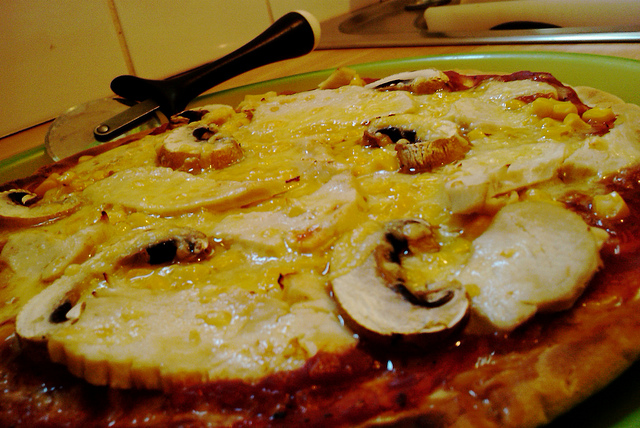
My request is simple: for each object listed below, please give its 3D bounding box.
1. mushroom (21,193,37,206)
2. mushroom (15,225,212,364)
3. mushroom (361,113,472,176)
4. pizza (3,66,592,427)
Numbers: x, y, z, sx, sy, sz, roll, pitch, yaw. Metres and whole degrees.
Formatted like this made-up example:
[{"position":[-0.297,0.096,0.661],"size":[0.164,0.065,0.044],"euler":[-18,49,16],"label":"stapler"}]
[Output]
[{"position":[-0.763,-0.040,1.488],"size":[0.027,0.009,0.028],"euler":[-31,28,-21],"label":"mushroom"},{"position":[-0.429,0.130,1.188],"size":[0.375,0.076,0.219],"euler":[-25,36,-21],"label":"mushroom"},{"position":[0.244,-0.190,1.397],"size":[0.196,0.048,0.187],"euler":[-5,34,5],"label":"mushroom"},{"position":[-0.047,0.026,1.311],"size":[1.430,0.223,0.932],"euler":[-3,40,6],"label":"pizza"}]
